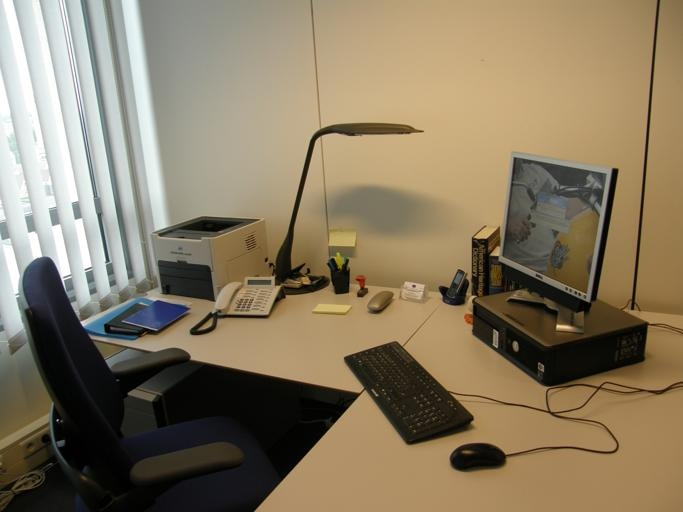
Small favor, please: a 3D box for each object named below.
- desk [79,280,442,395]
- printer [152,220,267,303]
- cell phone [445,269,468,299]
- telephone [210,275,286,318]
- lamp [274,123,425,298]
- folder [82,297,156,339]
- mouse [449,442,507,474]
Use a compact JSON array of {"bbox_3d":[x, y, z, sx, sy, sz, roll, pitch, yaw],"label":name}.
[{"bbox_3d":[-0.324,0.355,2.243,0.534,0.432,0.502,5,17,28],"label":"desk"},{"bbox_3d":[-0.665,0.007,2.749,0.444,0.402,0.480,4,17,24],"label":"printer"},{"bbox_3d":[0.551,0.134,2.436,0.060,0.140,0.086,21,3,-32],"label":"cell phone"},{"bbox_3d":[-0.449,0.193,2.487,0.290,0.132,0.256,-2,16,7],"label":"telephone"},{"bbox_3d":[-0.013,-0.236,2.609,0.763,0.850,0.353,-1,24,1],"label":"lamp"},{"bbox_3d":[-1.047,0.259,2.450,0.285,0.146,0.320,7,18,11],"label":"folder"},{"bbox_3d":[0.411,0.610,1.538,0.134,0.044,0.153,-6,12,-34],"label":"mouse"}]
